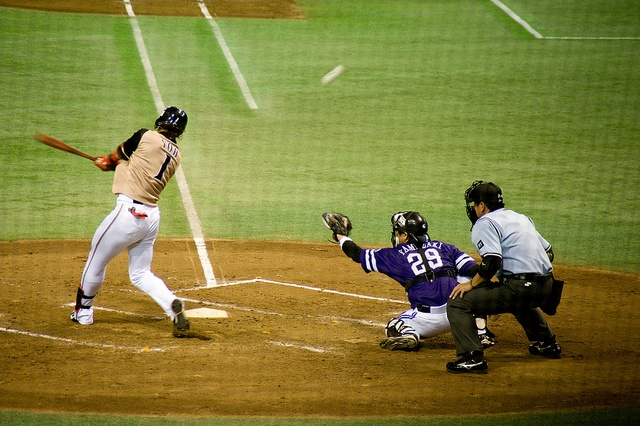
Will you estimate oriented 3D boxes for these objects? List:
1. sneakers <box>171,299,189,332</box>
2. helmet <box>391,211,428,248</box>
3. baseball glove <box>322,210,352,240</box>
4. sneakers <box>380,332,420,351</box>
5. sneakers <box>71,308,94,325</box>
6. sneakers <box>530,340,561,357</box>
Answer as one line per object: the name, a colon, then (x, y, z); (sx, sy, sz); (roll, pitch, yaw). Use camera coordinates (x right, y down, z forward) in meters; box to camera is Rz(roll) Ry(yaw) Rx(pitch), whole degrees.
sneakers: (-2.002, 1.529, 14.344); (0.271, 0.456, 0.236); (-9, 20, 0)
helmet: (1.445, 0.218, 14.640); (0.698, 0.396, 0.512); (7, 12, 35)
baseball glove: (0.349, 0.204, 14.881); (0.463, 0.394, 0.477); (-13, 24, -15)
sneakers: (1.216, 1.927, 14.357); (0.740, 0.162, 0.270); (3, 16, 1)
sneakers: (-3.511, 1.571, 14.562); (0.458, 0.156, 0.167); (10, -29, 15)
sneakers: (3.412, 2.024, 14.449); (0.588, 0.175, 0.182); (6, 22, 22)
